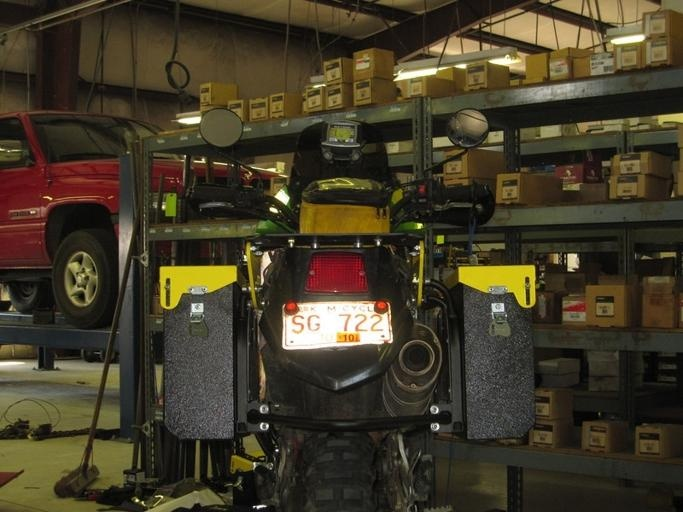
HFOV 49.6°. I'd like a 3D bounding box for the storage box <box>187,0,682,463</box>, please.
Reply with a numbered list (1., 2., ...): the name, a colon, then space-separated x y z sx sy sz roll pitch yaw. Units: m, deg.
1. storage box: 0.710 -0.081 5.628 2.212 2.283 4.082 -1 -1 1
